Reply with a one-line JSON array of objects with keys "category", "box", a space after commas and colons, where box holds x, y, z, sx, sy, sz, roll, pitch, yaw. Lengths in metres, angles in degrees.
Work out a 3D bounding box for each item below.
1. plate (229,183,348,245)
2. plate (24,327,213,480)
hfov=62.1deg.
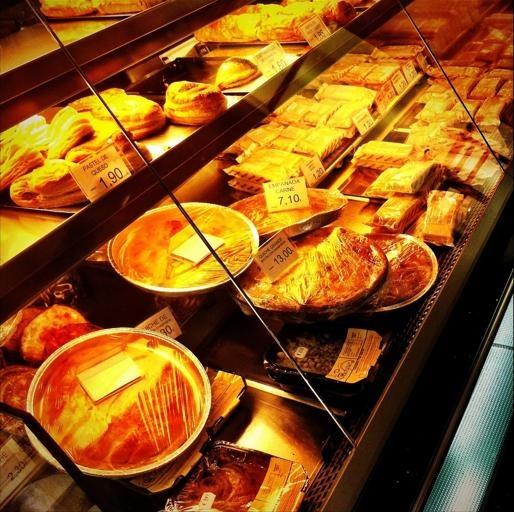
[{"category": "plate", "box": [0.131, -0.132, 1.322, 0.268, 0.049, 0.207, -21, 36, -18]}, {"category": "plate", "box": [-0.297, 0.297, 0.956, 0.322, 0.163, 0.356, -36, 47, -18]}]
